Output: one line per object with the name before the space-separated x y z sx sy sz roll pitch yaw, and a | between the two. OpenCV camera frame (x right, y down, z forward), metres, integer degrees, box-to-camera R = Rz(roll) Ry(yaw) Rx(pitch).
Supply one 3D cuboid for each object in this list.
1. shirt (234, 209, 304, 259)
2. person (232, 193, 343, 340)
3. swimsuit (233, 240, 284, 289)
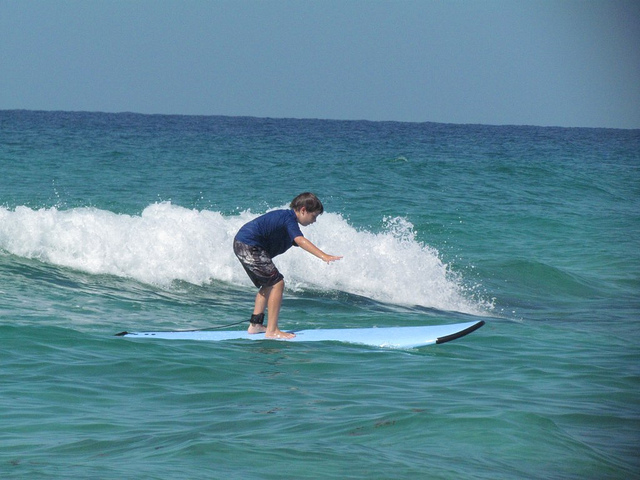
shirt | -0.535 -0.078 10.733 0.898 0.610 0.406 9 14 26
person | -0.434 0.309 10.801 1.108 1.824 0.584 13 16 31
swimsuit | -0.733 0.264 10.834 0.534 0.555 0.519 -6 8 -38
